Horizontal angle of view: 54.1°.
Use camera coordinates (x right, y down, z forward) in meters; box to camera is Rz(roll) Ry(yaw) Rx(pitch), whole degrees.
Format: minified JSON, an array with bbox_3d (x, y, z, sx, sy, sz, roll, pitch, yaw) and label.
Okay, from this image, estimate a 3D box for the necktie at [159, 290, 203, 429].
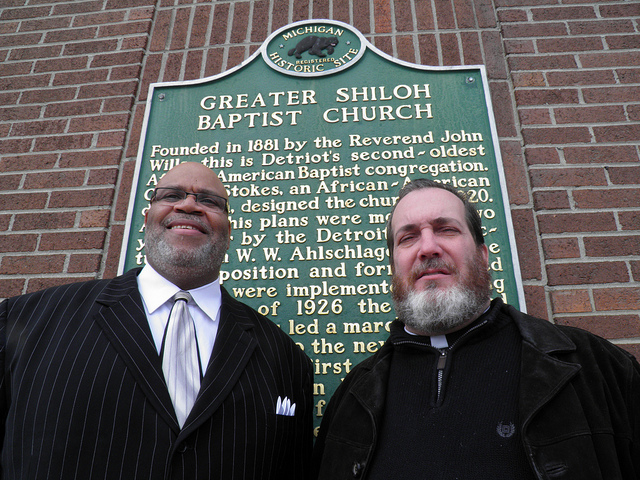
[{"bbox_3d":[-0.817,0.704,3.685,0.263,0.706,0.204,-5,-7,-43],"label":"necktie"}]
